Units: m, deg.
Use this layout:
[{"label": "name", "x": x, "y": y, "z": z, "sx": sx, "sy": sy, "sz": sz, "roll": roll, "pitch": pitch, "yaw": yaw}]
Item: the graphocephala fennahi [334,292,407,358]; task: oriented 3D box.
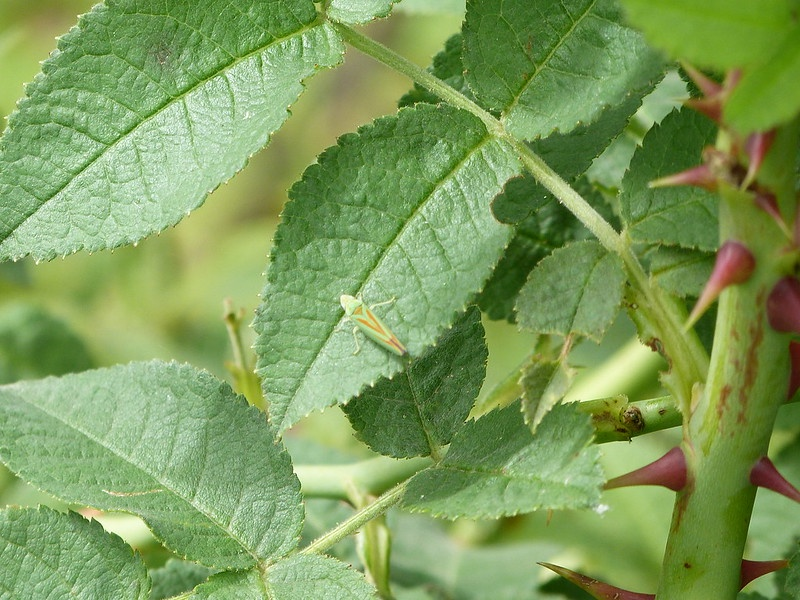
[{"label": "graphocephala fennahi", "x": -0.046, "y": 0.041, "z": 1.400, "sx": 0.090, "sy": 0.083, "sz": 0.027, "roll": 42, "pitch": -2, "yaw": 13}]
